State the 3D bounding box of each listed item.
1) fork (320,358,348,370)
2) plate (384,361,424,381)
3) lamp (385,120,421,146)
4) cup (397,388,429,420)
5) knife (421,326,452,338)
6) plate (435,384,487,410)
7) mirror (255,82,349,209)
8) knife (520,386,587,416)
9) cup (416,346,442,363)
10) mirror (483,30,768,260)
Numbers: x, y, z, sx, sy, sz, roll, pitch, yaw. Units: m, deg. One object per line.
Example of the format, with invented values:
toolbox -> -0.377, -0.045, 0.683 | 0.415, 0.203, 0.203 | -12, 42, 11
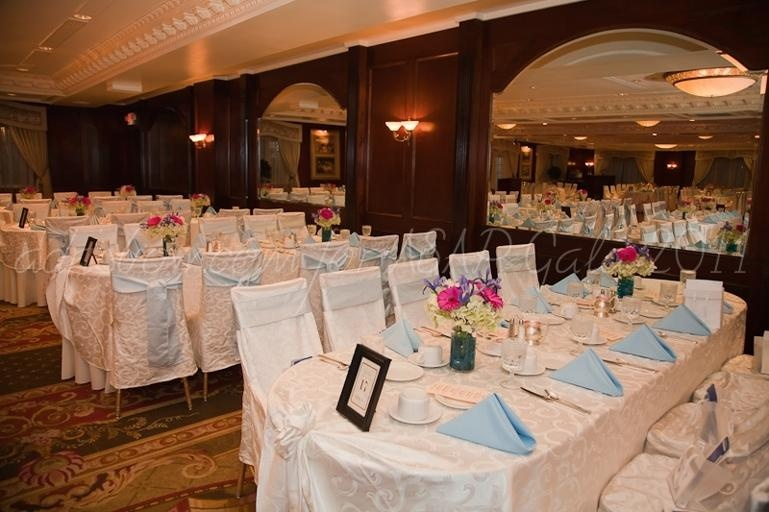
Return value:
fork -> -0.313, 0.652, 3.013 | 0.217, 0.033, 0.061 | 9, 13, 40
plate -> 0.123, 0.672, 2.895 | 0.200, 0.073, 0.217 | 2, 10, 12
lamp -> 0.232, -1.955, 7.735 | 0.264, 0.332, 0.642 | -8, 13, -39
cup -> 0.147, 0.761, 2.530 | 0.170, 0.140, 0.105 | 0, 10, 0
knife -> 0.352, 0.521, 3.347 | 0.130, 0.033, 0.129 | 8, 6, 44
plate -> 0.397, 0.763, 2.683 | 0.273, 0.071, 0.203 | 7, 12, 34
mirror -> -1.737, -2.290, 10.179 | 2.726, 3.235, 0.110 | 5, 4, 28
knife -> 0.913, 0.776, 2.711 | 0.373, 0.048, 0.106 | 14, 32, 33
cup -> 0.259, 0.597, 2.984 | 0.081, 0.079, 0.145 | 8, 11, 42
mirror -> 3.264, -1.556, 6.715 | 0.065, 2.049, 2.727 | -5, 12, -33
